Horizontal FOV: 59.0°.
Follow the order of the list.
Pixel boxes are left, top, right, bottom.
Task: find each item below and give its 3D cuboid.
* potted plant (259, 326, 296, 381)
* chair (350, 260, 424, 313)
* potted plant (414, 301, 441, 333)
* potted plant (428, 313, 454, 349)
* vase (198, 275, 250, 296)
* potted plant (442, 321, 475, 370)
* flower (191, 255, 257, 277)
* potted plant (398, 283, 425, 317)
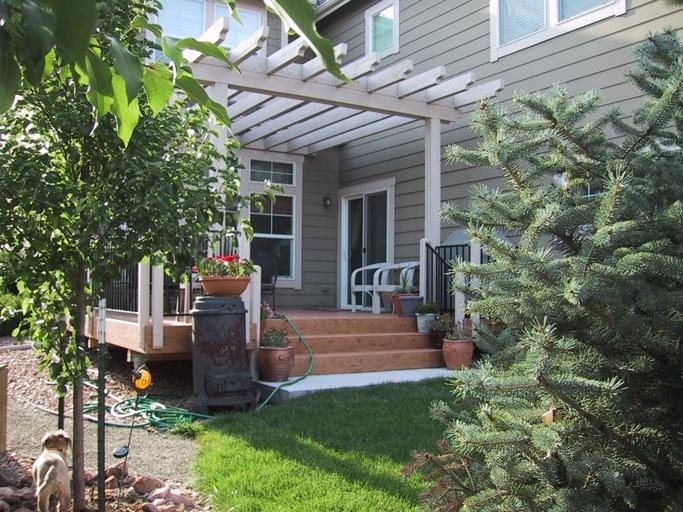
[{"bbox_3d":[-0.728,1.060,6.498,0.414,0.543,0.318,0,-3,9],"label":"potted plant"},{"bbox_3d":[0.810,0.429,9.688,0.921,0.756,0.976,5,-8,-38],"label":"chair"},{"bbox_3d":[1.139,0.830,8.126,0.356,0.404,0.360,-9,-15,40],"label":"potted plant"},{"bbox_3d":[1.293,0.969,7.908,0.401,0.293,0.402,3,-9,-10],"label":"potted plant"},{"bbox_3d":[-1.198,0.300,6.127,0.498,0.201,0.247,1,-3,-8],"label":"vase"},{"bbox_3d":[1.454,1.113,7.548,0.398,0.580,0.620,0,-3,10],"label":"potted plant"},{"bbox_3d":[-1.191,0.096,6.080,0.527,0.215,0.456,1,-3,-14],"label":"flower"},{"bbox_3d":[0.954,0.655,8.573,0.396,0.288,0.391,8,-12,-35],"label":"potted plant"}]
